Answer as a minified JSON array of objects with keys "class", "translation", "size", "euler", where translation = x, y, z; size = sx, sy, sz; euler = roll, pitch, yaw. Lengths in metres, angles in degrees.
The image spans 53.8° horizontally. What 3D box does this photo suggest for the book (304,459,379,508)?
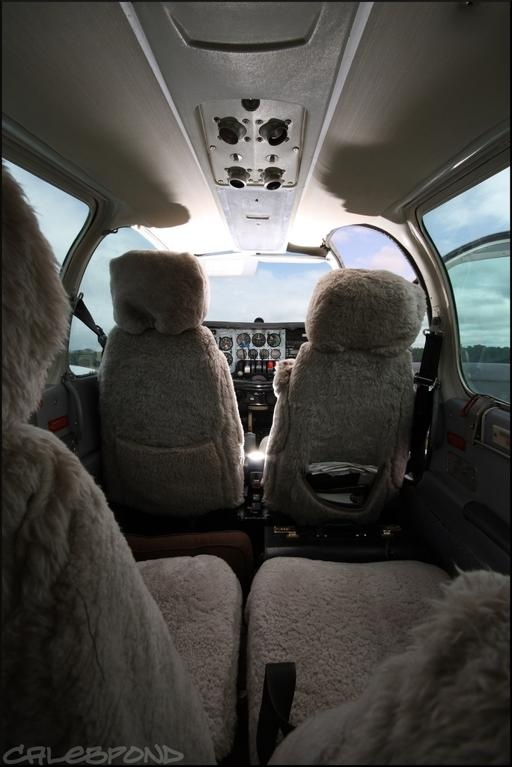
[{"class":"book","translation":[0.336,0.384,1.965],"size":[0.238,0.086,0.183],"euler":[3,-20,-5]}]
